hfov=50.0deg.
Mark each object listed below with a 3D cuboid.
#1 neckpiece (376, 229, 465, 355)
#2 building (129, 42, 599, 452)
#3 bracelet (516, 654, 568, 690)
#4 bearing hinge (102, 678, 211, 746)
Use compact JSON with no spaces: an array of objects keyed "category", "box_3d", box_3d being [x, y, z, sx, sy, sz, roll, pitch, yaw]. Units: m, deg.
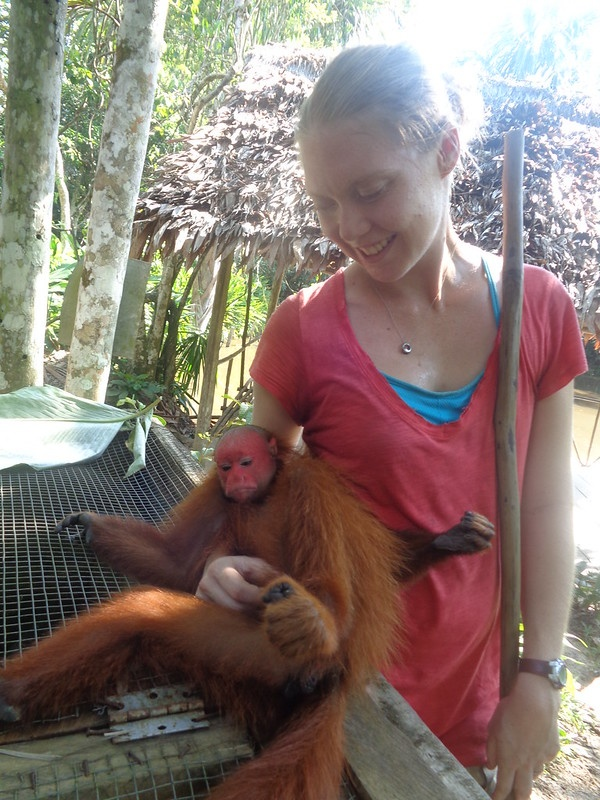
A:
[{"category":"neckpiece","box_3d":[0.240,-0.184,1.324,0.116,0.323,0.058,-3,-15,-29]},{"category":"building","box_3d":[0.516,-1.375,5.016,2.746,1.215,2.660,5,23,11]},{"category":"bracelet","box_3d":[0.459,0.509,1.223,0.081,0.084,0.054,0,-43,26]},{"category":"bearing hinge","box_3d":[-0.221,0.473,1.000,0.140,0.115,0.027,-13,-7,-8]}]
